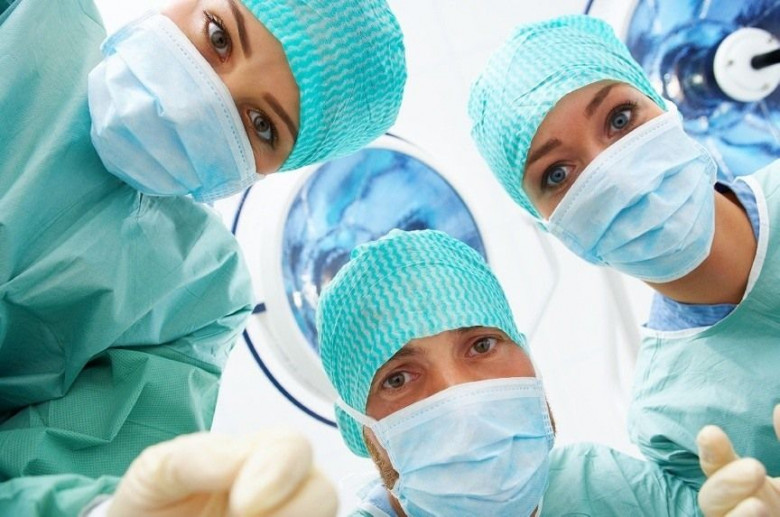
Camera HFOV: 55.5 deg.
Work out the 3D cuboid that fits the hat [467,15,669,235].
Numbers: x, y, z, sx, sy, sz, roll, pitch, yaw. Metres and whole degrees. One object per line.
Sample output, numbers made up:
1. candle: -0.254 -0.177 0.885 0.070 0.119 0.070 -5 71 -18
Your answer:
1. hat: 0.654 -0.491 3.018 0.665 0.682 0.782 -18 -4 0
